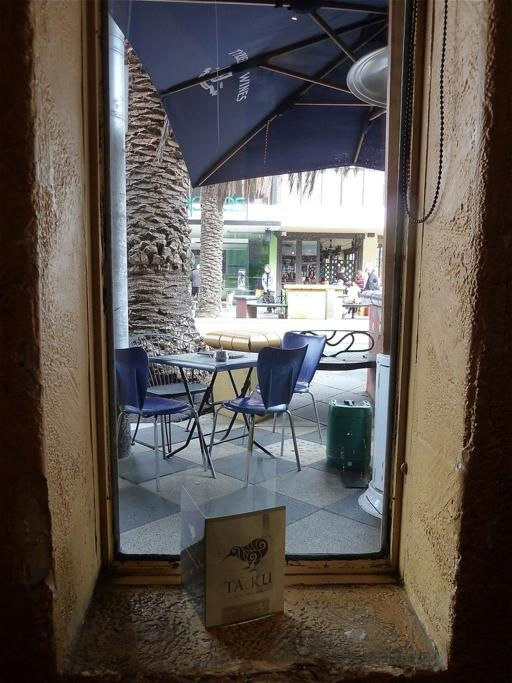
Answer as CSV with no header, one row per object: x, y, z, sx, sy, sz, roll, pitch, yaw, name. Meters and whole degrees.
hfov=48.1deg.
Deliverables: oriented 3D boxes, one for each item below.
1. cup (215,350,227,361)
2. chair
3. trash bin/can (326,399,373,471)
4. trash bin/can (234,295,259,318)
-0.226,0.092,3.666,0.063,0.069,0.066,0,-3,0,cup
-0.237,0.382,3.822,1.254,0.837,1.569,1,6,6,chair
0.572,0.592,3.541,0.266,0.413,0.165,1,5,7,trash bin/can
-0.180,-0.923,15.982,0.543,0.885,0.798,2,5,38,trash bin/can
